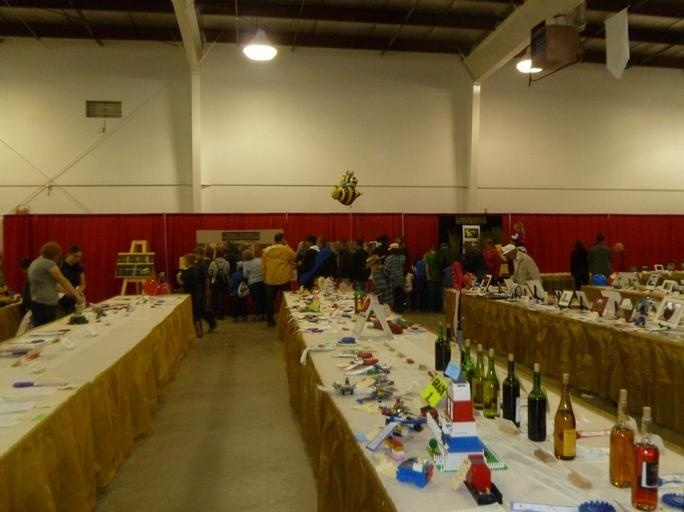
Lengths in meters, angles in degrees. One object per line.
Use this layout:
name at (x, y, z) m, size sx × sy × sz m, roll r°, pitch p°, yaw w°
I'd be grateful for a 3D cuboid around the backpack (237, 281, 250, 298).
backpack at (-1.854, 0.629, 9.444) m, size 0.190 × 0.345 × 0.430 m, roll -7°, pitch 6°, yaw -19°

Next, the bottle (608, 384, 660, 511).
bottle at (1.276, 0.810, 2.232) m, size 0.198 × 0.455 × 0.312 m, roll -2°, pitch 7°, yaw 32°

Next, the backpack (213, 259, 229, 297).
backpack at (-2.263, 0.353, 9.804) m, size 0.295 × 0.566 × 0.528 m, roll 1°, pitch -1°, yaw -15°

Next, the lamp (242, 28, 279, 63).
lamp at (-1.448, -3.751, 8.828) m, size 0.499 × 0.505 × 0.638 m, roll -6°, pitch 6°, yaw 2°

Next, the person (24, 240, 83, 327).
person at (-3.463, 0.583, 6.054) m, size 0.476 × 1.430 × 0.468 m, roll 5°, pitch -1°, yaw 10°

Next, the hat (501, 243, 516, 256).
hat at (2.228, -0.080, 6.899) m, size 0.155 × 0.089 × 0.220 m, roll -3°, pitch -3°, yaw -3°
